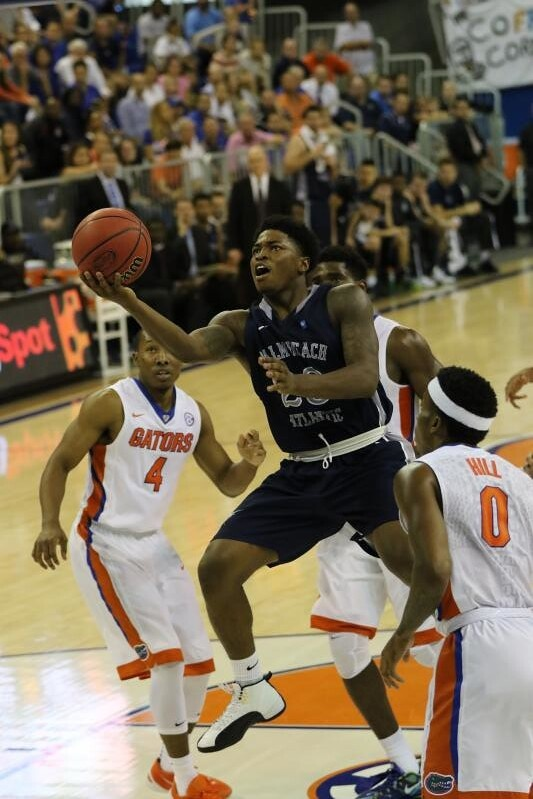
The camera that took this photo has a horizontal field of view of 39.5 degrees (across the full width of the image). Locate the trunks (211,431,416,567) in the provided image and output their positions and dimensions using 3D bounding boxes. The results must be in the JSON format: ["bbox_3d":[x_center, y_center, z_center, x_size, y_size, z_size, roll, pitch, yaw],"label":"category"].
[{"bbox_3d":[0.166,0.308,2.307,0.493,0.225,0.449,-24,-5,30],"label":"trunks"}]

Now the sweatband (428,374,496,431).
[{"bbox_3d":[0.409,0.024,1.589,0.030,0.126,0.113,-57,17,-6],"label":"sweatband"}]

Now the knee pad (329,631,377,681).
[{"bbox_3d":[0.236,0.807,2.326,0.137,0.186,0.146,16,-28,-35],"label":"knee pad"}]

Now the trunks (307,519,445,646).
[{"bbox_3d":[0.278,0.615,2.387,0.250,0.276,0.165,0,18,-28],"label":"trunks"}]

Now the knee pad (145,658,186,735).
[{"bbox_3d":[-0.289,0.866,2.186,0.103,0.216,0.148,-6,7,-7],"label":"knee pad"}]

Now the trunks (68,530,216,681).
[{"bbox_3d":[-0.358,0.625,2.244,0.284,0.445,0.335,-9,8,-33],"label":"trunks"}]

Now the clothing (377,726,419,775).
[{"bbox_3d":[0.385,1.030,2.194,0.070,0.166,0.061,-31,0,2],"label":"clothing"}]
